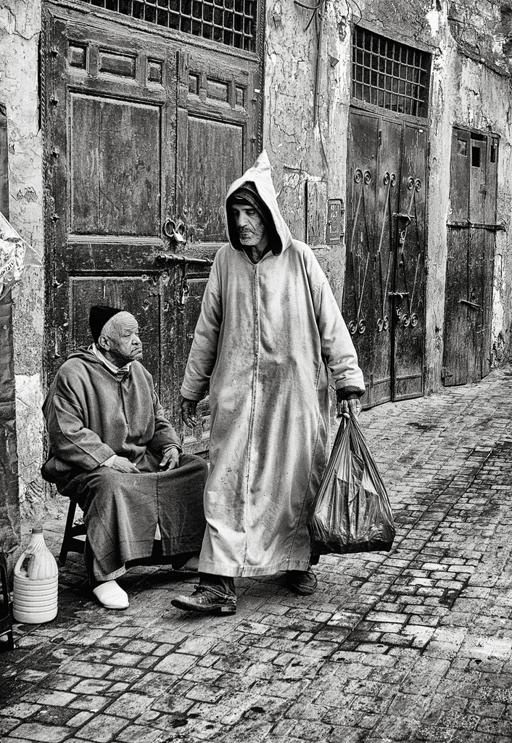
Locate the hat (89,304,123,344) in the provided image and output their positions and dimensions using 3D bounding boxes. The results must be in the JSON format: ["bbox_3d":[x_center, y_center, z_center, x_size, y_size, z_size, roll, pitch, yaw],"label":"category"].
[{"bbox_3d":[-0.683,-0.217,4.124,0.113,0.209,0.118,22,9,34],"label":"hat"}]

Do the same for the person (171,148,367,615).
[{"bbox_3d":[0.026,0.031,3.968,0.781,1.897,0.657,-1,5,-11],"label":"person"}]

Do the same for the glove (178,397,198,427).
[{"bbox_3d":[-0.305,0.188,4.192,0.056,0.153,0.029,-8,4,-27],"label":"glove"}]

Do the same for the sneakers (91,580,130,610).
[{"bbox_3d":[-0.613,0.929,3.864,0.163,0.099,0.101,5,7,36],"label":"sneakers"}]

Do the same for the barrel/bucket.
[{"bbox_3d":[-0.889,0.811,3.691,0.196,0.367,0.207,5,10,-1],"label":"barrel/bucket"}]

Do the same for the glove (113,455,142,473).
[{"bbox_3d":[-0.578,0.406,4.035,0.081,0.087,0.187,2,6,17],"label":"glove"}]

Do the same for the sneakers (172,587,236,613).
[{"bbox_3d":[-0.210,0.936,3.738,0.271,0.117,0.192,0,6,-9],"label":"sneakers"}]
